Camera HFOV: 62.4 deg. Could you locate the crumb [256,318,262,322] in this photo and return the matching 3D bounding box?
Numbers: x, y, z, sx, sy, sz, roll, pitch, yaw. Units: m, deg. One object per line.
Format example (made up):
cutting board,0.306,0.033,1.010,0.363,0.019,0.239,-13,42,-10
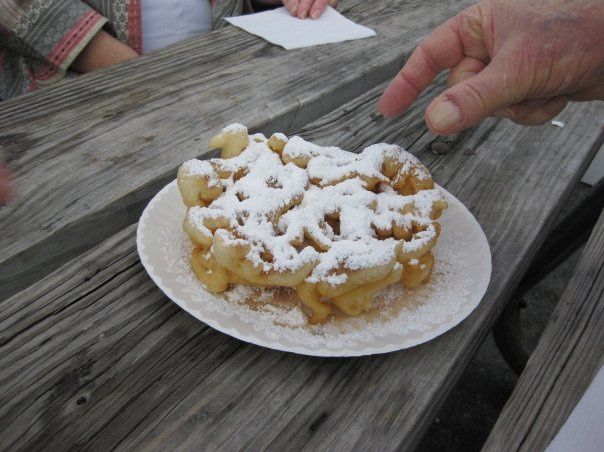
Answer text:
crumb,-0.063,0.138,0.738,0.008,0.004,0.005,-13,75,-12
